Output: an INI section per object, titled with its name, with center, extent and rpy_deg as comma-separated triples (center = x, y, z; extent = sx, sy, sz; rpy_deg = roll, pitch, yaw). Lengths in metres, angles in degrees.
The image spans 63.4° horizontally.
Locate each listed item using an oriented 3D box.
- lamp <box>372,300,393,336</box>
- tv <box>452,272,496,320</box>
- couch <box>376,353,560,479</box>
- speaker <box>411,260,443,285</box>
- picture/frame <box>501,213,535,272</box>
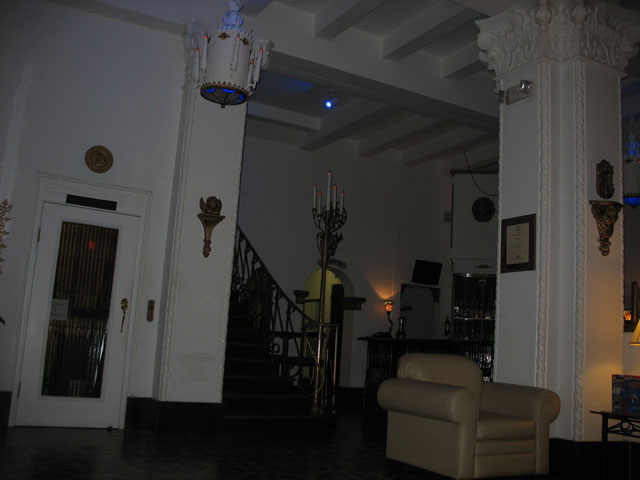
[lamp]
center = 1.455, 1.679, 11.263
extent = 0.285, 0.800, 0.596
rpy_deg = -3, -11, 28
[tv]
center = 3.748, 1.470, 12.079
extent = 0.538, 1.116, 1.118
rpy_deg = 13, -11, -41
[couch]
center = 1.423, 1.707, 4.814
extent = 1.181, 0.938, 1.156
rpy_deg = 6, -11, -25
[speaker]
center = 2.467, 0.756, 11.844
extent = 0.621, 0.612, 0.155
rpy_deg = 3, 0, -21
[picture/frame]
center = 2.171, 0.042, 5.596
extent = 0.053, 0.775, 0.538
rpy_deg = 10, -11, -31
